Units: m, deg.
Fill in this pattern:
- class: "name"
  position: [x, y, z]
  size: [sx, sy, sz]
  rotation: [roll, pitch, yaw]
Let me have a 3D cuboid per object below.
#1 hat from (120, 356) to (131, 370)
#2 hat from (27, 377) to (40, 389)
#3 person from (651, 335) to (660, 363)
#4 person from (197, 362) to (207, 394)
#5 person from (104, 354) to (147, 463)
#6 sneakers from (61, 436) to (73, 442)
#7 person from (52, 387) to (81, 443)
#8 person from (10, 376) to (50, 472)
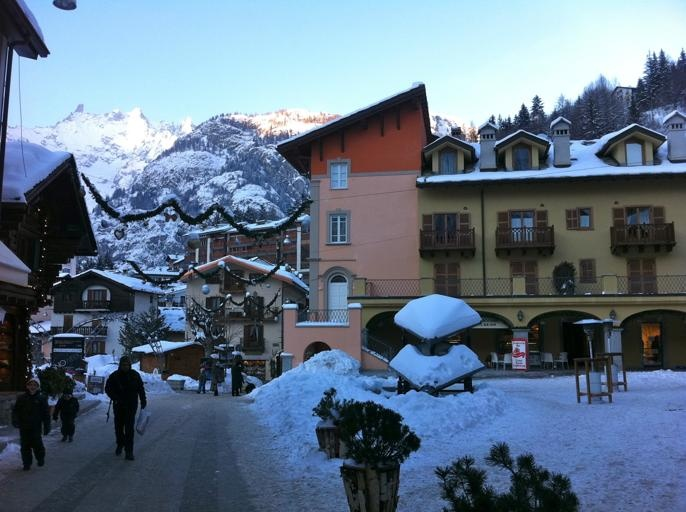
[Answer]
- class: "hat"
  position: [-5.873, 2.848, 22.241]
  size: [0.304, 0.381, 0.378]
  rotation: [-2, -7, -24]
- class: "hat"
  position: [-8.270, 3.333, 21.922]
  size: [0.262, 0.344, 0.330]
  rotation: [-2, -18, -25]
- class: "person"
  position: [16.261, 4.754, 42.541]
  size: [0.484, 1.333, 0.241]
  rotation: [-2, -7, 14]
- class: "person"
  position: [-6.926, 5.870, 40.416]
  size: [0.383, 1.551, 0.774]
  rotation: [1, -7, -8]
- class: "person"
  position: [-5.899, 4.030, 22.224]
  size: [1.029, 2.698, 0.940]
  rotation: [2, -7, -15]
- class: "sneakers"
  position: [-8.085, 5.294, 24.052]
  size: [0.303, 0.306, 0.138]
  rotation: [4, -51, -14]
- class: "person"
  position: [-8.372, 4.722, 24.802]
  size: [0.687, 1.475, 1.757]
  rotation: [2, -8, -19]
- class: "person"
  position: [-8.173, 4.351, 21.617]
  size: [0.758, 2.293, 1.026]
  rotation: [-1, -7, 7]
